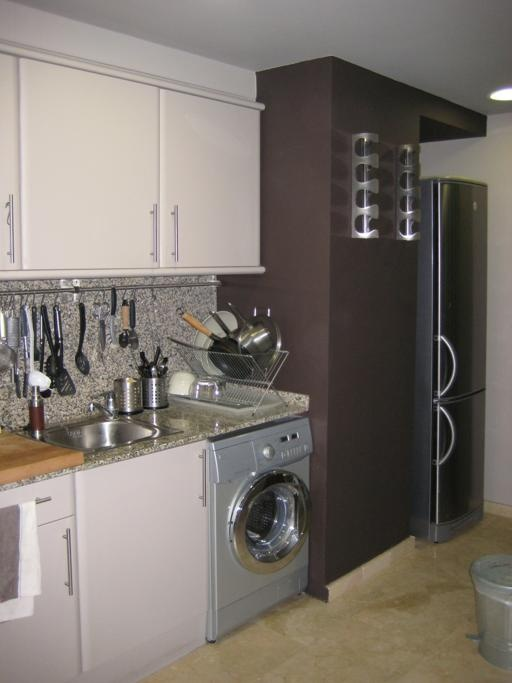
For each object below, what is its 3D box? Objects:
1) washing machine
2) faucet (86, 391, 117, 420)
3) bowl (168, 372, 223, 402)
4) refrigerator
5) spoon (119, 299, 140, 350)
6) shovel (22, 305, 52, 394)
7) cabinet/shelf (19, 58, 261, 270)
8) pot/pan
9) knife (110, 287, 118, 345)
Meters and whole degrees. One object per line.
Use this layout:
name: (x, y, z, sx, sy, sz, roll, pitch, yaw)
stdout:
washing machine: (-0.038, 0.728, 2.463, 0.508, 0.836, 0.443, -10, 13, -39)
faucet: (-0.639, 0.271, 2.402, 0.073, 0.117, 0.148, 2, 0, 28)
bowl: (-0.284, 0.201, 2.665, 0.197, 0.071, 0.123, 3, 4, 30)
refrigerator: (1.084, 0.126, 3.254, 0.495, 2.040, 0.196, 0, 2, -29)
spoon: (-0.565, -0.074, 2.565, 0.098, 0.220, 0.095, 0, 2, -29)
shovel: (-0.810, 0.033, 2.120, 0.101, 0.372, 0.075, 2, 31, -17)
cabinet/shelf: (-0.473, -0.624, 2.351, 1.061, 0.711, 0.364, -9, 14, -42)
pot/pan: (-0.144, -0.001, 2.717, 0.182, 0.324, 0.469, -14, 25, -39)
knife: (-0.624, -0.108, 2.508, 0.033, 0.250, 0.130, 0, 2, -13)
